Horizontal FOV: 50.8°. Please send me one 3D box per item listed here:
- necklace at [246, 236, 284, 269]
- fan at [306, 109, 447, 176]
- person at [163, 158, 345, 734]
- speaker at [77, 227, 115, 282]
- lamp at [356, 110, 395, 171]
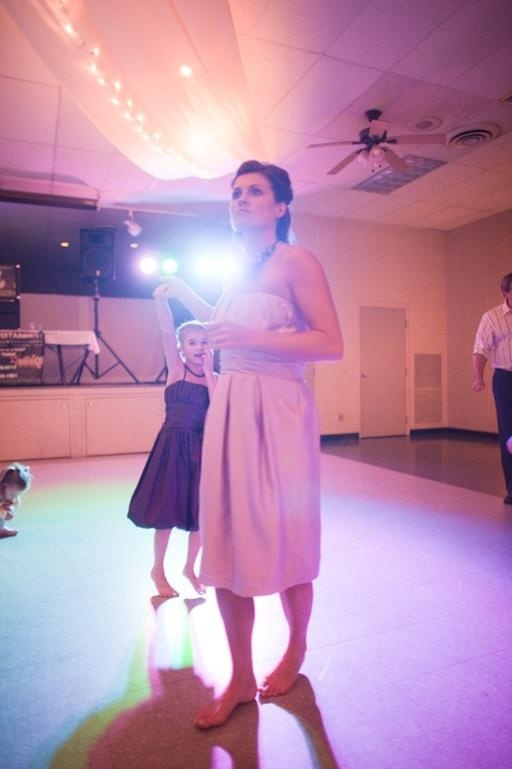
[{"bbox_3d":[0.028,-0.294,1.245,0.057,0.016,0.066,-47,-7,-42],"label":"necklace"},{"bbox_3d":[1.014,-1.851,4.150,0.535,0.246,0.560,-4,-12,36],"label":"fan"},{"bbox_3d":[0.016,0.107,1.277,0.314,1.282,0.356,-1,1,-7],"label":"person"},{"bbox_3d":[-1.905,-1.463,6.433,0.385,0.707,0.348,2,-27,-23],"label":"speaker"},{"bbox_3d":[0.938,-1.887,4.213,0.282,0.250,0.294,2,-3,-21],"label":"lamp"}]
